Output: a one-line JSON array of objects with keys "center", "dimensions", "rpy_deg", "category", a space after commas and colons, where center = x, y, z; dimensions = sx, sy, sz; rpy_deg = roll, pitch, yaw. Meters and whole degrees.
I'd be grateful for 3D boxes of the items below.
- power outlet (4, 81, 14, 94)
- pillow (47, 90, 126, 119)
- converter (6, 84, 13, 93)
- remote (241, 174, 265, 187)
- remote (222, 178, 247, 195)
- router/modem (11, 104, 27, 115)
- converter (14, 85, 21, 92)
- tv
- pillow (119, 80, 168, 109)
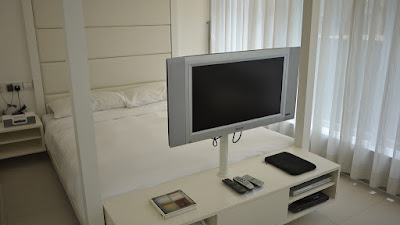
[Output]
[{"center": [-3.165, -0.421, 4.383], "dimensions": [0.153, 0.144, 0.035], "rpy_deg": [1, 8, -8], "category": "power outlet"}, {"center": [-1.772, -0.171, 4.671], "dimensions": [1.367, 0.262, 0.491], "rpy_deg": [-5, 52, -27], "category": "pillow"}, {"center": [-3.150, -0.414, 4.385], "dimensions": [0.122, 0.151, 0.086], "rpy_deg": [-7, 17, -37], "category": "converter"}, {"center": [0.611, 0.775, 3.036], "dimensions": [0.196, 0.042, 0.115], "rpy_deg": [20, 26, 41], "category": "remote"}, {"center": [0.391, 0.797, 2.968], "dimensions": [0.107, 0.038, 0.289], "rpy_deg": [-23, 35, -37], "category": "remote"}, {"center": [-2.991, -0.046, 4.446], "dimensions": [0.251, 0.091, 0.131], "rpy_deg": [-18, 49, -38], "category": "router/modem"}, {"center": [-3.044, -0.409, 4.407], "dimensions": [0.081, 0.094, 0.033], "rpy_deg": [4, 5, -25], "category": "converter"}, {"center": [0.415, -0.232, 2.962], "dimensions": [1.058, 0.590, 0.026], "rpy_deg": [-9, 20, -22], "category": "tv"}, {"center": [-0.991, -0.339, 4.895], "dimensions": [0.839, 0.316, 0.480], "rpy_deg": [-12, 17, -20], "category": "pillow"}]
